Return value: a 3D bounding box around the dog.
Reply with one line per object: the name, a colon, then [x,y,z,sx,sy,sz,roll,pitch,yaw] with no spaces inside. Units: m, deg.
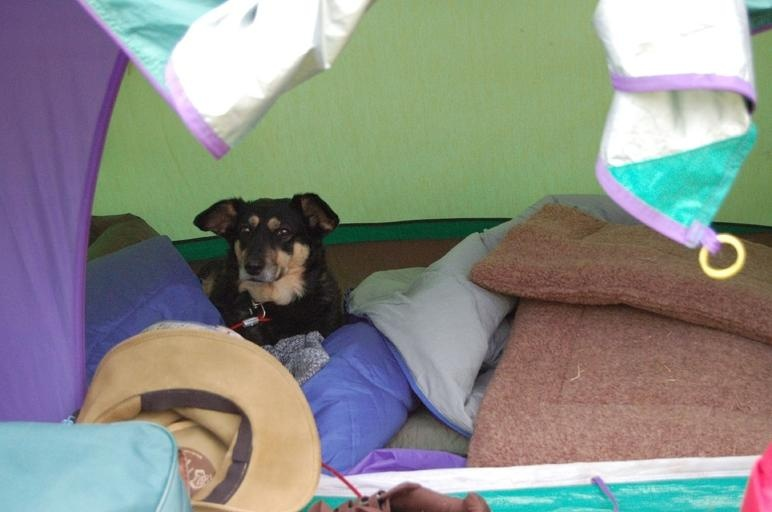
dog: [-0.488,0.055,2.893,0.523,0.549,0.720,-3,14,-3]
